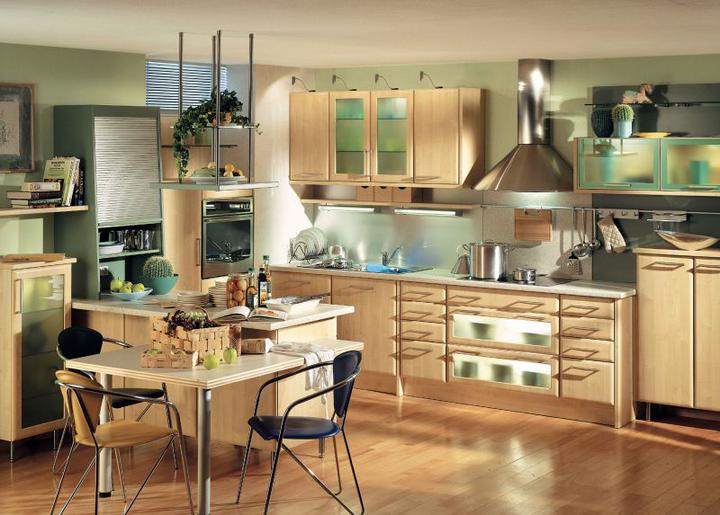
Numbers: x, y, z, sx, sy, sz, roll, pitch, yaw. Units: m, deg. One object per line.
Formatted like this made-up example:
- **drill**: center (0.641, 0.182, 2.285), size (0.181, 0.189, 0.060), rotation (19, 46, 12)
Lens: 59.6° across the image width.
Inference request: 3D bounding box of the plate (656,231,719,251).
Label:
- **plate**: center (3.035, -0.160, 5.887), size (0.539, 0.171, 0.354), rotation (2, 5, 26)

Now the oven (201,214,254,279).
- **oven**: center (-1.525, -0.096, 7.072), size (0.279, 0.527, 0.797), rotation (1, 3, 38)

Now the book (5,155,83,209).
- **book**: center (-2.727, -0.659, 5.526), size (0.345, 0.457, 0.475), rotation (3, 6, 26)

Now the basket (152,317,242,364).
- **basket**: center (-1.072, 0.531, 4.313), size (0.422, 0.160, 0.419), rotation (1, 2, 43)

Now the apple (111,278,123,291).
- **apple**: center (-2.166, 0.243, 5.689), size (0.132, 0.110, 0.110), rotation (3, 6, 1)

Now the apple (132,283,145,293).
- **apple**: center (-1.982, 0.282, 5.730), size (0.100, 0.073, 0.077), rotation (11, -9, 1)

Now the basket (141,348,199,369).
- **basket**: center (-1.234, 0.665, 4.126), size (0.346, 0.102, 0.175), rotation (1, 5, 10)

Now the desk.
- **desk**: center (-1.095, 0.786, 4.370), size (1.308, 0.733, 1.922), rotation (3, 5, 31)

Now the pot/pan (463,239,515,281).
- **pot/pan**: center (1.340, 0.036, 6.638), size (0.688, 0.343, 0.431), rotation (2, 5, 30)

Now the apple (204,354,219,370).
- **apple**: center (-0.955, 0.682, 4.126), size (0.116, 0.083, 0.102), rotation (-4, 2, 33)

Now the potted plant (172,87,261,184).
- **potted plant**: center (-1.324, -1.110, 5.588), size (0.614, 0.827, 1.110), rotation (-2, 6, -19)

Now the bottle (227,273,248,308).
- **bottle**: center (-1.014, 0.269, 5.239), size (0.305, 0.304, 0.268), rotation (1, 0, -7)

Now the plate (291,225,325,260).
- **plate**: center (-0.621, -0.172, 7.684), size (0.450, 0.349, 0.115), rotation (-9, -15, 28)

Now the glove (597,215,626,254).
- **glove**: center (2.495, -0.219, 6.282), size (0.269, 0.352, 0.075), rotation (-21, -7, 39)

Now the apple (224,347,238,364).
- **apple**: center (-0.855, 0.663, 4.254), size (0.119, 0.096, 0.096), rotation (-6, 2, 2)

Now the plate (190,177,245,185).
- **plate**: center (-1.187, -0.646, 5.367), size (0.281, 0.026, 0.240), rotation (0, 1, 5)

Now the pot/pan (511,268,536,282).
- **pot/pan**: center (1.633, 0.179, 6.381), size (0.169, 0.057, 0.184), rotation (-3, 5, -31)

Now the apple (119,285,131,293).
- **apple**: center (-2.079, 0.283, 5.646), size (0.078, 0.031, 0.078), rotation (2, 5, 40)

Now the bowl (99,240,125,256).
- **bowl**: center (-2.288, -0.085, 5.821), size (0.075, 0.118, 0.238), rotation (3, 6, 25)
